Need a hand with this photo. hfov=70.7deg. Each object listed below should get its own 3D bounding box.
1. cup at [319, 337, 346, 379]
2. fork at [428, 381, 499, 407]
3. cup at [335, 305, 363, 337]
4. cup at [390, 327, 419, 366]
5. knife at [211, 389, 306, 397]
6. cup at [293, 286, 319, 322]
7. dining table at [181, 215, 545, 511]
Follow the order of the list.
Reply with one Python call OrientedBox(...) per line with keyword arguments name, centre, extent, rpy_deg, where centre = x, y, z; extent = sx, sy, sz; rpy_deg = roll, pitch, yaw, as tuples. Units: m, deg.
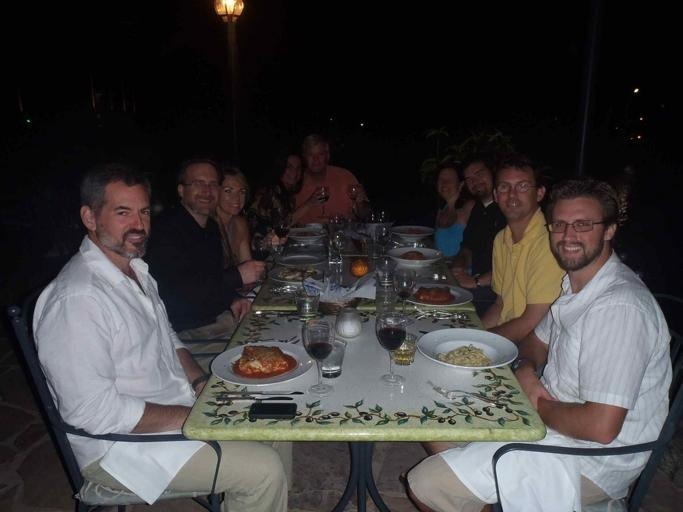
OrientedBox(name="cup", centre=(-0.017, 0.459, 2.187), extent=(0.124, 0.107, 0.163), rpy_deg=(3, 17, 8))
OrientedBox(name="fork", centre=(0.499, 0.570, 1.988), extent=(0.245, 0.039, 0.039), rpy_deg=(5, 39, 26))
OrientedBox(name="cup", centre=(0.040, 0.338, 2.483), extent=(0.156, 0.123, 0.142), rpy_deg=(0, -4, 0))
OrientedBox(name="cup", centre=(0.298, 0.440, 2.259), extent=(0.141, 0.098, 0.142), rpy_deg=(0, -1, 0))
OrientedBox(name="knife", centre=(-0.338, 0.567, 2.002), extent=(0.519, 0.032, 0.025), rpy_deg=(0, -3, 0))
OrientedBox(name="cup", centre=(-0.168, 0.277, 2.711), extent=(0.191, 0.161, 0.170), rpy_deg=(1, -3, 0))
OrientedBox(name="dining table", centre=(0.136, 0.391, 1.950), extent=(1.217, 0.621, 1.115), rpy_deg=(-1, 14, -30))
